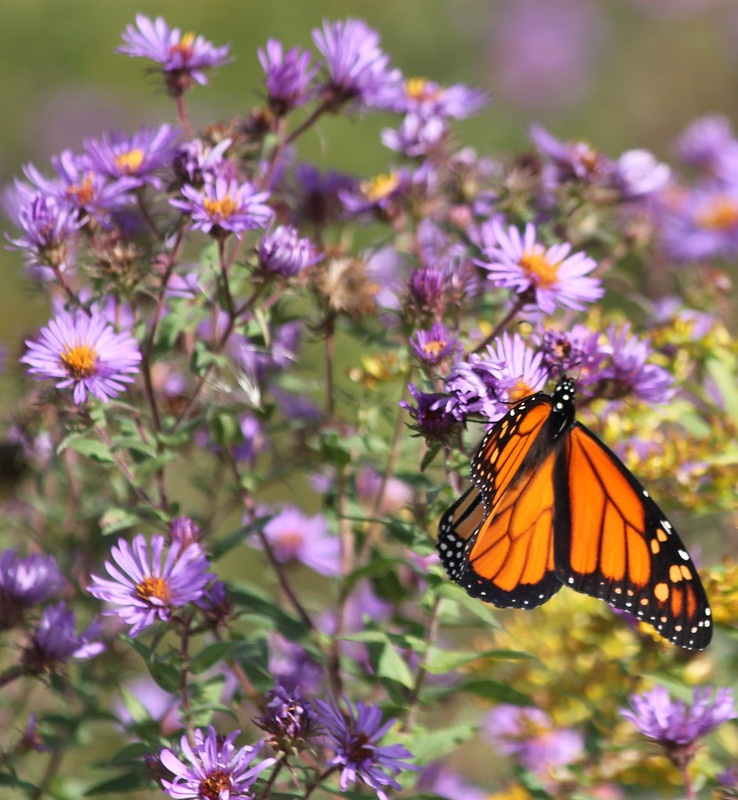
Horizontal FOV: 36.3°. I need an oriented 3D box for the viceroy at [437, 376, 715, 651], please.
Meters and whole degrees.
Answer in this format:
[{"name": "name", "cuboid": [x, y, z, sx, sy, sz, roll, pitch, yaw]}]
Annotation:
[{"name": "viceroy", "cuboid": [0.225, 0.109, 1.502, 0.240, 0.394, 0.521, -12, -3, 27]}]
